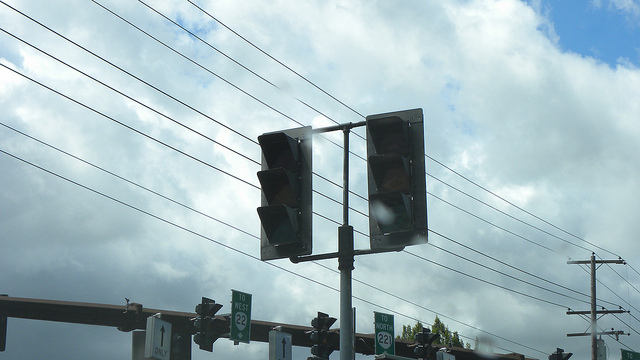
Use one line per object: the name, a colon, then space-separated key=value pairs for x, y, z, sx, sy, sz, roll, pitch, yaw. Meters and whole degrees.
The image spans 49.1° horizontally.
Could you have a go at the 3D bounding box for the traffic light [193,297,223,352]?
traffic light: x=-5.390 y=6.992 z=33.494 sx=1.311 sy=2.456 sz=1.319 roll=10 pitch=-22 yaw=-7
